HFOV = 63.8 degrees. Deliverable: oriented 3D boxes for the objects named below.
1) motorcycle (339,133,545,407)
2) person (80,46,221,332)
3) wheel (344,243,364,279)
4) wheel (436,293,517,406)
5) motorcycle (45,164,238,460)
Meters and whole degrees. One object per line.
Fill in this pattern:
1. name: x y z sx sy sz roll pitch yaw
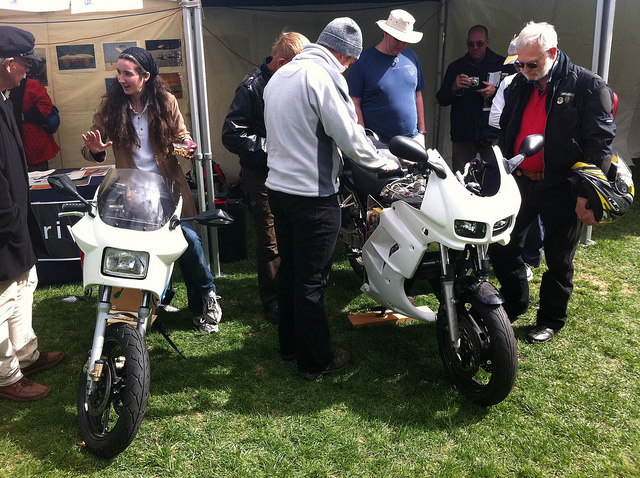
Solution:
1. motorcycle: 0.780 -0.189 4.555 1.139 1.911 2.930 -7 26 -16
2. person: -1.644 -0.495 4.764 1.097 2.394 1.059 -14 29 -29
3. wheel: 0.372 0.235 5.228 0.086 0.289 0.284 -12 7 -26
4. wheel: 1.108 0.808 3.683 0.158 0.637 0.564 -10 30 -19
5. motorcycle: -1.435 0.278 4.051 1.060 1.706 2.216 -9 18 -23
